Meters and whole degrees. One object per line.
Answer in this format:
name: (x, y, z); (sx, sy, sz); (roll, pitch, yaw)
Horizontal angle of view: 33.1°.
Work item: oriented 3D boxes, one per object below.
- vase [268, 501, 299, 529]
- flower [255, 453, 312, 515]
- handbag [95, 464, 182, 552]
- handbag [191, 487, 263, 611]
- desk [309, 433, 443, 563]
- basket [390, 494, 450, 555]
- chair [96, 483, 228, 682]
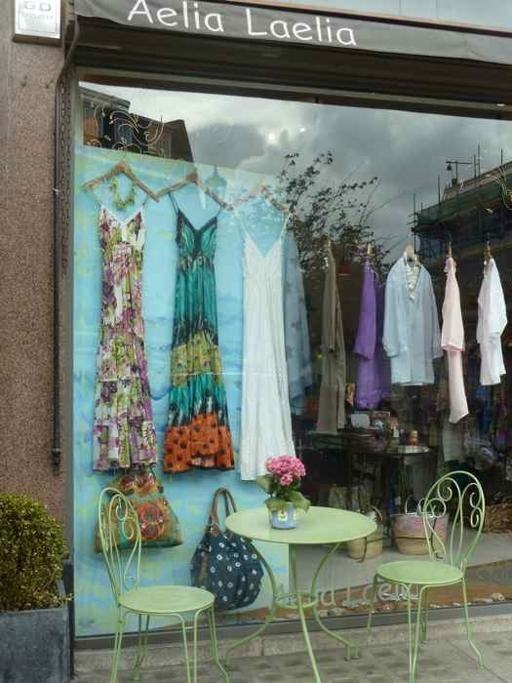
vase: (0.131, 0.821, 4.121); (0.145, 0.123, 0.136); (3, -5, -18)
flower: (0.145, 0.679, 4.200); (0.282, 0.255, 0.264); (0, 12, 3)
handbag: (-0.588, 0.933, 4.843); (0.487, 0.436, 0.137); (4, -9, -24)
handbag: (-0.166, 1.184, 4.894); (0.394, 0.648, 0.335); (5, -6, -29)
desk: (0.672, 0.856, 5.182); (0.814, 0.536, 0.715); (2, 1, -18)
basket: (0.984, 1.128, 5.257); (0.342, 0.241, 0.357); (1, -10, -11)
chair: (-0.478, 1.256, 4.402); (0.619, 0.731, 0.955); (-4, -2, -11)
